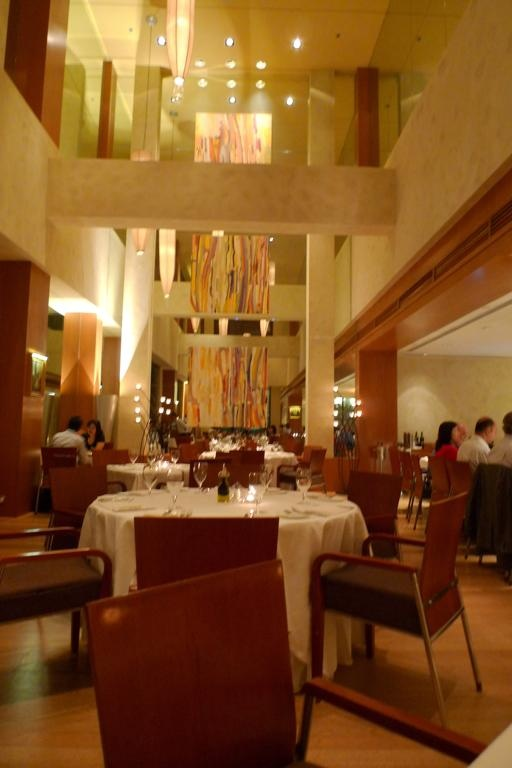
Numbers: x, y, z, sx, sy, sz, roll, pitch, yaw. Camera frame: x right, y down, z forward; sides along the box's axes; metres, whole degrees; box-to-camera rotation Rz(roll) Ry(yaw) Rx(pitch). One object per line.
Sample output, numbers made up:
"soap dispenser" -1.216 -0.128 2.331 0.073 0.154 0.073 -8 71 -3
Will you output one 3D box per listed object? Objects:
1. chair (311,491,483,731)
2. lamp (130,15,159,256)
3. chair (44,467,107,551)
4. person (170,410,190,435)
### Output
"chair" 0.538 0.809 2.129 0.550 0.990 0.621 -7 12 -37
"lamp" -2.032 -4.826 9.879 0.358 5.129 0.462 0 -5 8
"chair" -1.033 0.784 3.138 0.422 0.581 0.674 8 -13 -22
"person" -2.503 1.260 16.962 0.236 0.499 1.125 13 -2 5
